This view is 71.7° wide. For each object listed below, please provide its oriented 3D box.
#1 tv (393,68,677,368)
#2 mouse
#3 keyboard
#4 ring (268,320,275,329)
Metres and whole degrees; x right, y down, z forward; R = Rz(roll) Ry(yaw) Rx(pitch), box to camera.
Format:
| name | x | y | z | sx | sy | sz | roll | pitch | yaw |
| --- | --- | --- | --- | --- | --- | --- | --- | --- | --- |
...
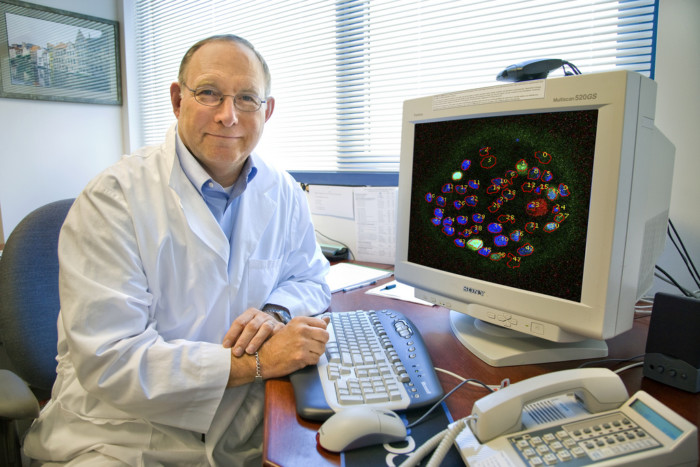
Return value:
| name | x | y | z | sx | sy | sz | roll | pitch | yaw |
| --- | --- | --- | --- | --- | --- | --- | --- | --- | --- |
| tv | 0.601 | -0.053 | 1.514 | 0.646 | 0.760 | 0.732 | -10 | 14 | -28 |
| mouse | 0.026 | 0.435 | 1.074 | 0.171 | 0.059 | 0.092 | -5 | 10 | -13 |
| keyboard | 0.024 | 0.341 | 1.306 | 0.366 | 0.152 | 0.380 | 0 | 9 | -8 |
| ring | -0.225 | 0.267 | 1.410 | 0.017 | 0.005 | 0.018 | 40 | 0 | 0 |
